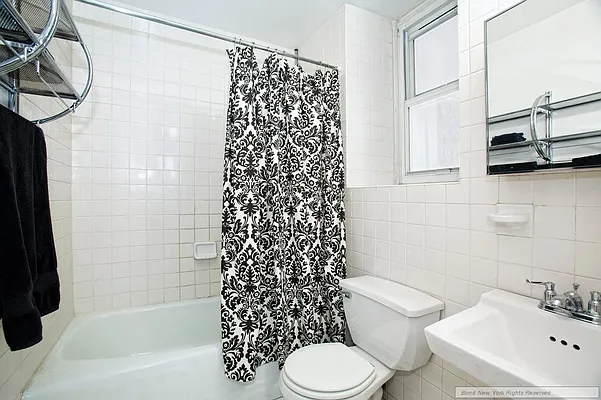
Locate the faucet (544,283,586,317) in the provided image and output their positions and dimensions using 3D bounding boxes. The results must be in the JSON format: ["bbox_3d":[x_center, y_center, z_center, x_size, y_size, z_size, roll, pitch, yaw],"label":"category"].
[{"bbox_3d":[1.414,0.514,2.114,0.131,0.157,0.218,-11,7,-32],"label":"faucet"}]
